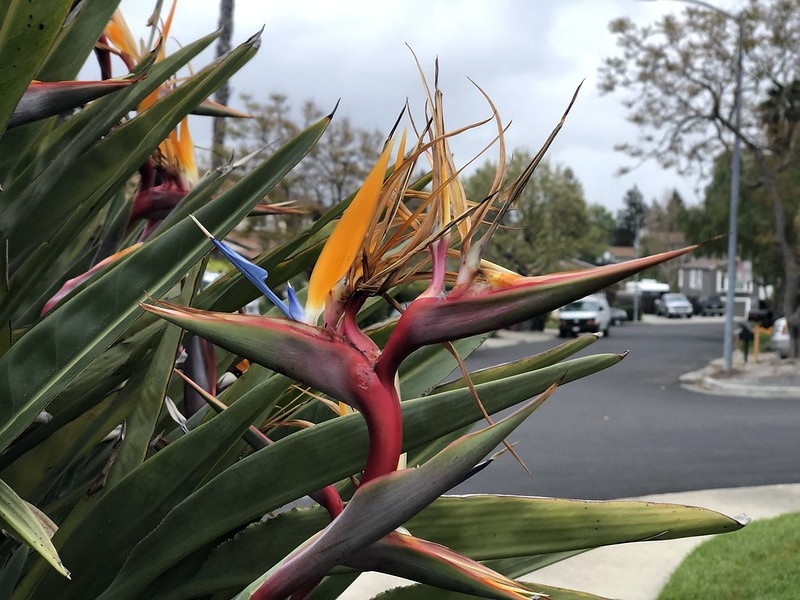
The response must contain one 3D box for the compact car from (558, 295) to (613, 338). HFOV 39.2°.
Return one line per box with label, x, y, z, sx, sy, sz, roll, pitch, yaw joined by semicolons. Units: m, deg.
compact car;3.634;0.373;22.339;0.847;0.995;2.334;-5;-4;22
